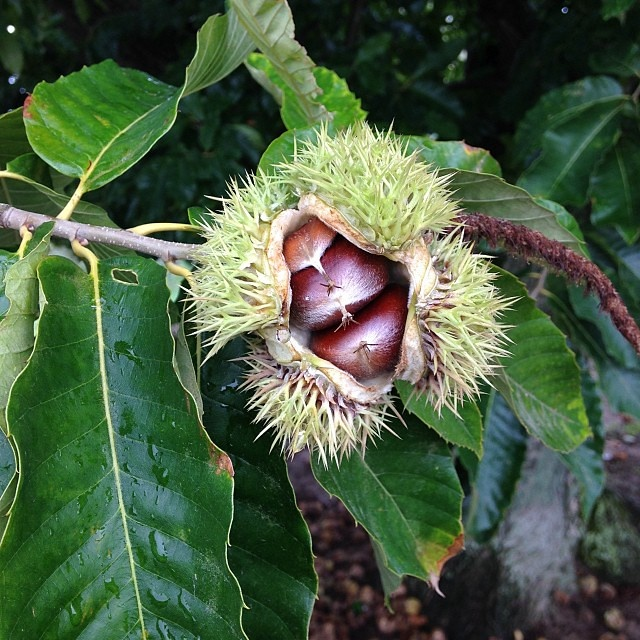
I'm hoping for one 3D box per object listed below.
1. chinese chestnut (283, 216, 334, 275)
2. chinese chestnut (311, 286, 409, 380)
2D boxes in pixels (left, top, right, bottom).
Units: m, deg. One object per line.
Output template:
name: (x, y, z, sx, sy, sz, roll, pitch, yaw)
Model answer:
chinese chestnut: (-0.023, -0.132, 1.357, 0.108, 0.095, 0.040, 21, -1, -2)
chinese chestnut: (0.077, 0.019, 1.417, 0.187, 0.150, 0.239, 3, 17, 4)
